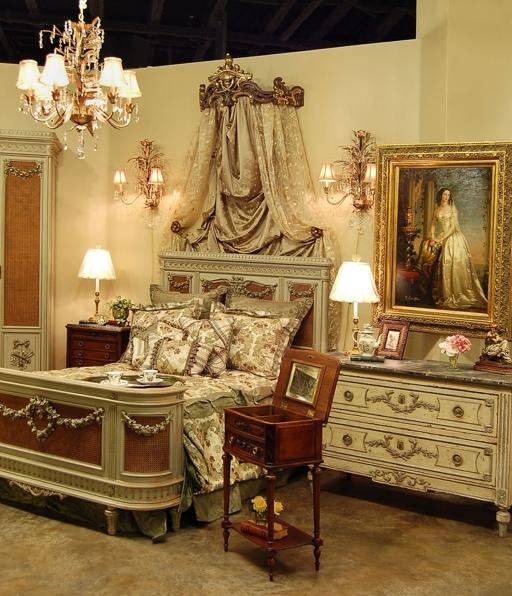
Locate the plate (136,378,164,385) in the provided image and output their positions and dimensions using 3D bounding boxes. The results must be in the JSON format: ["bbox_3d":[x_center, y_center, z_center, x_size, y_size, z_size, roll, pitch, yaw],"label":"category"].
[{"bbox_3d":[-0.607,0.486,3.249,0.150,0.032,0.144,3,-4,-16],"label":"plate"}]

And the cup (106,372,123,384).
[{"bbox_3d":[-0.811,0.454,3.180,0.072,0.050,0.071,0,-5,0],"label":"cup"}]

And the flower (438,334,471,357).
[{"bbox_3d":[1.322,0.302,3.706,0.199,0.149,0.185,-1,1,-27],"label":"flower"}]

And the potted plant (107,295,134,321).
[{"bbox_3d":[-1.390,0.104,5.731,0.274,0.236,0.257,2,-4,-21],"label":"potted plant"}]

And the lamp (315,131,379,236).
[{"bbox_3d":[0.880,-0.974,4.744,0.633,0.814,0.349,-7,16,-28],"label":"lamp"}]

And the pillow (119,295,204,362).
[{"bbox_3d":[-0.788,0.246,4.726,0.617,0.557,0.175,-14,-41,28],"label":"pillow"}]

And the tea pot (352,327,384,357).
[{"bbox_3d":[0.777,0.315,4.039,0.271,0.234,0.177,1,2,-1],"label":"tea pot"}]

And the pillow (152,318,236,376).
[{"bbox_3d":[-0.427,0.362,4.357,0.555,0.454,0.157,-1,-28,16],"label":"pillow"}]

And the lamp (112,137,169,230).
[{"bbox_3d":[-1.250,-1.208,5.937,0.595,0.944,0.221,-1,-5,35],"label":"lamp"}]

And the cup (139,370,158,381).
[{"bbox_3d":[-0.616,0.452,3.271,0.071,0.052,0.080,3,-4,-17],"label":"cup"}]

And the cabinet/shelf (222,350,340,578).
[{"bbox_3d":[0.111,0.760,2.696,0.436,1.017,0.530,4,-4,-18],"label":"cabinet/shelf"}]
